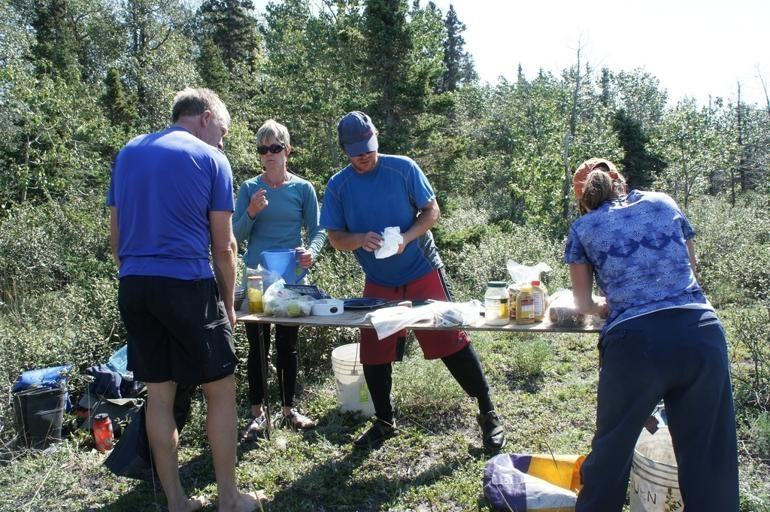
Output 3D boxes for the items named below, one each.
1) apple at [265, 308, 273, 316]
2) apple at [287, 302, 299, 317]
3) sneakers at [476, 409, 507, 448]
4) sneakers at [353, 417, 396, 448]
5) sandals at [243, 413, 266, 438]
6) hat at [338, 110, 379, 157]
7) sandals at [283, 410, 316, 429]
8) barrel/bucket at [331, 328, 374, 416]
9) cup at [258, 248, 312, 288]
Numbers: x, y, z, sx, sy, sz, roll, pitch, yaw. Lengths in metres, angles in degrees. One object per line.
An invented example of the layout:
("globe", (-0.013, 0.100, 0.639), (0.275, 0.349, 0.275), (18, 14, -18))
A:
("apple", (-1.445, 0.706, 8.863), (0.085, 0.091, 0.084), (13, -18, 6))
("apple", (-1.115, 0.657, 8.877), (0.157, 0.172, 0.155), (4, 17, 14))
("sneakers", (1.372, 2.228, 9.173), (0.236, 0.239, 0.549), (-11, 37, -4))
("sneakers", (-0.115, 2.362, 9.314), (0.645, 0.289, 0.243), (-16, 6, -23))
("sandals", (-1.716, 2.316, 9.561), (0.399, 0.163, 0.199), (-51, 14, -21))
("hat", (-0.352, -1.565, 8.869), (0.397, 0.608, 0.342), (-17, -36, -8))
("sandals", (-1.168, 2.249, 9.697), (0.392, 0.179, 0.228), (1, 9, 19))
("barrel/bucket", (-0.440, 1.690, 10.175), (0.822, 0.955, 0.871), (-7, 5, 1))
("cup", (-1.303, 0.133, 9.123), (0.539, 0.566, 0.377), (2, -3, -1))
